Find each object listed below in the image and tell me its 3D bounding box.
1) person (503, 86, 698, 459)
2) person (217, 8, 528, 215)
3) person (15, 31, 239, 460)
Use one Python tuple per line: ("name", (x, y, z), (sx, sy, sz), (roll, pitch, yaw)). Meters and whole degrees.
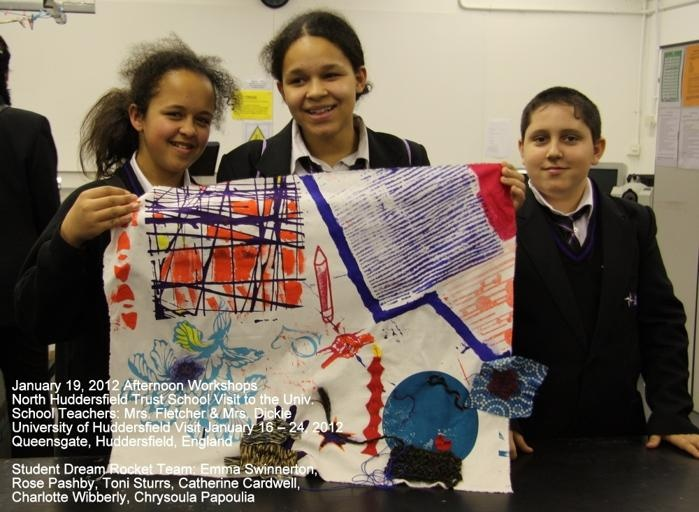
("person", (0.888, 0.017, 2.206), (0.572, 1.257, 0.309), (0, 1, 23))
("person", (-0.089, -0.597, 2.352), (0.799, 0.628, 0.371), (-1, 1, -15))
("person", (-0.748, -0.050, 2.142), (0.681, 1.512, 0.447), (-1, 1, -11))
